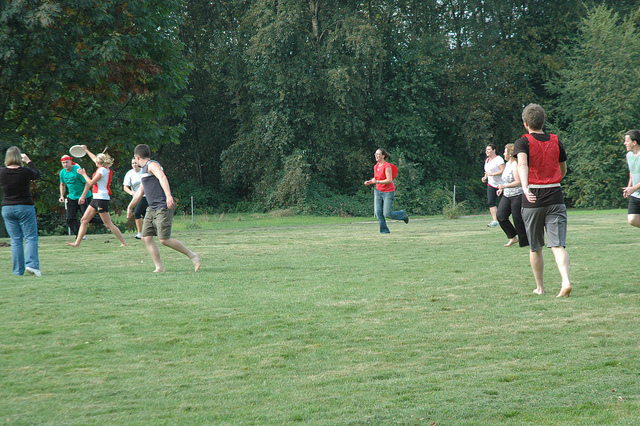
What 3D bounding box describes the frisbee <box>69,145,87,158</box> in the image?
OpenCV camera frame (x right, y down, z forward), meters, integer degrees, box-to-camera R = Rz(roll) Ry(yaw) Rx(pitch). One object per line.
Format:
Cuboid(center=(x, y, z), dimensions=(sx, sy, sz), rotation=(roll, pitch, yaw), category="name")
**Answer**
Cuboid(center=(-7.010, -1.764, 22.792), dimensions=(0.449, 0.414, 0.094), rotation=(-24, -30, -27), category="frisbee")
